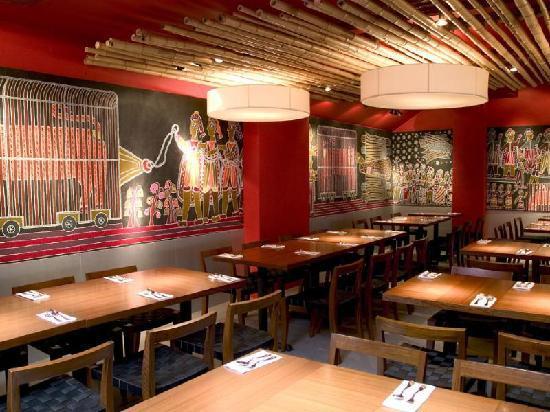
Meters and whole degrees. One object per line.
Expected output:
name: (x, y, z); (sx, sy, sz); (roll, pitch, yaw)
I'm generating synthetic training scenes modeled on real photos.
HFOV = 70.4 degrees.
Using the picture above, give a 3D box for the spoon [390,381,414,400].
spoon: (0.674, 0.969, 2.091); (0.047, 0.023, 0.187); (3, 9, 31)

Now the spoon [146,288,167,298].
spoon: (-1.131, 0.824, 3.679); (0.241, 0.011, 0.075); (7, 6, 44)

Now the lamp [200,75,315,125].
lamp: (-0.141, -1.176, 4.411); (0.774, 0.157, 0.715); (0, -1, -18)

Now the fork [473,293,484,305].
fork: (1.817, 0.844, 3.503); (0.062, 0.029, 0.208); (-19, 6, 38)

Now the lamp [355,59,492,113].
lamp: (1.693, -1.347, 4.514); (1.489, 0.322, 1.544); (8, 11, 39)
